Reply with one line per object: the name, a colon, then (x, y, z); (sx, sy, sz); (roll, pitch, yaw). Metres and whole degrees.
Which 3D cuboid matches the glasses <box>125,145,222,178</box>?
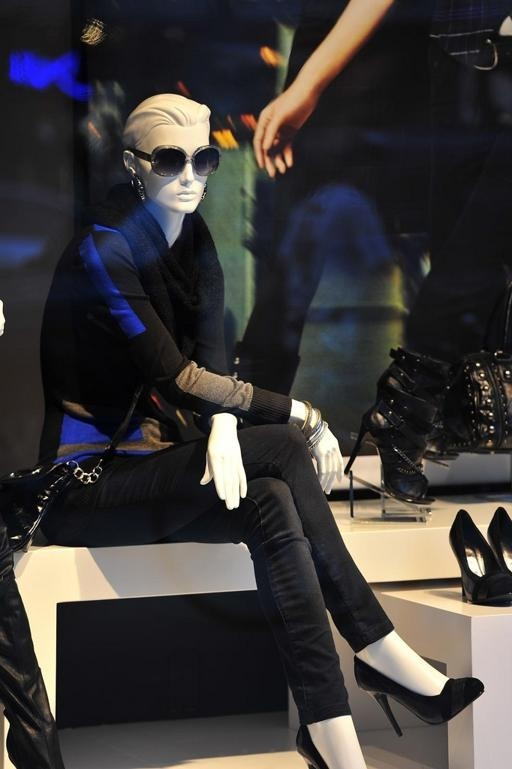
glasses: (-0.137, -0.413, 1.307); (0.101, 0.034, 0.099); (-5, 11, -30)
